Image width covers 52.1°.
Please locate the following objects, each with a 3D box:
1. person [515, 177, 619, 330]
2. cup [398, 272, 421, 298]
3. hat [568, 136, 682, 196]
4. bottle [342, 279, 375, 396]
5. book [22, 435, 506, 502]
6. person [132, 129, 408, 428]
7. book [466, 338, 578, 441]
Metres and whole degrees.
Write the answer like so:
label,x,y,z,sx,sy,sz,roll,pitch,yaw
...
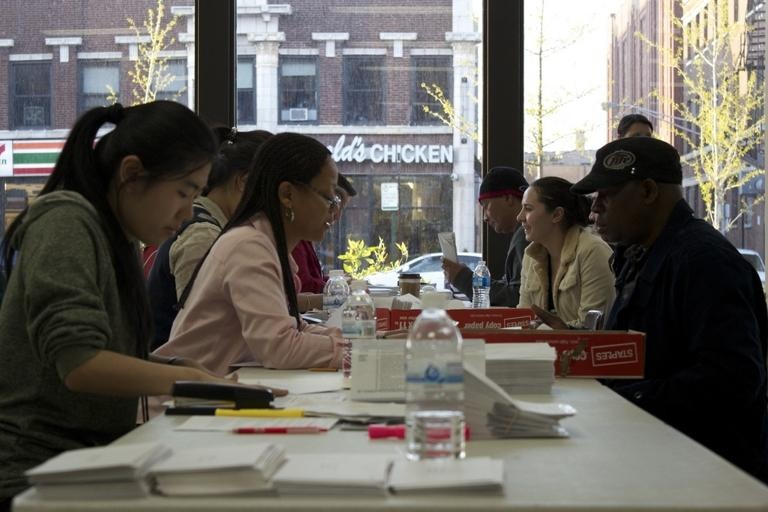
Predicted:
label,x,y,z,sx,sy,sz,roll,pitch,yaw
person,0.916,0.019,4.070,0.561,0.819,0.621,-1,-1,-21
cup,0.119,0.129,3.688,0.098,0.112,0.098,0,-7,0
hat,0.969,-0.364,3.117,0.466,0.218,0.325,0,7,1
bottle,-0.090,0.285,2.683,0.100,0.364,0.098,0,10,0
book,-0.287,0.510,1.918,1.152,0.122,0.143,-2,5,0
person,-0.419,-0.030,3.060,0.945,1.062,0.752,0,11,-7
book,0.365,0.362,2.213,0.317,0.222,0.379,0,0,19
